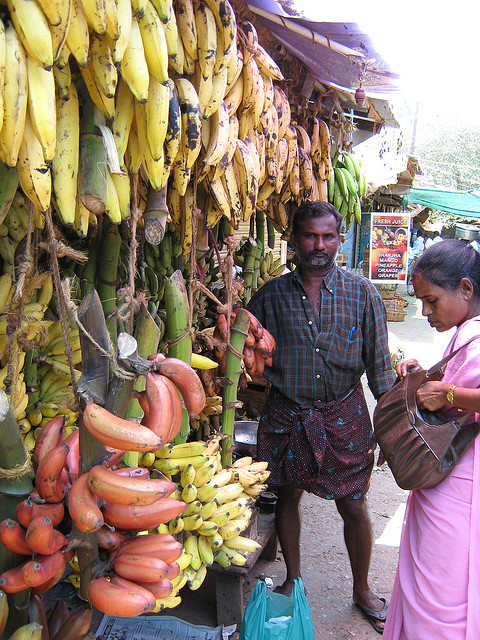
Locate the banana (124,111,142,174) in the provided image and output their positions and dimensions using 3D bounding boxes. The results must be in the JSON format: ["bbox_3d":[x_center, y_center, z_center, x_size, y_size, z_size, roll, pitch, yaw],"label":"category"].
[{"bbox_3d":[-0.252,-0.406,1.190,0.036,0.164,0.054,0,-2,10],"label":"banana"}]

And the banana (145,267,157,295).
[{"bbox_3d":[-0.324,-0.151,1.865,0.038,0.117,0.026,-25,37,-24],"label":"banana"}]

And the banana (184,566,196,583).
[{"bbox_3d":[-0.150,0.778,1.547,0.015,0.055,0.040,-16,2,10],"label":"banana"}]

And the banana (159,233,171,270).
[{"bbox_3d":[-0.281,-0.262,1.937,0.038,0.157,0.048,-4,6,-10],"label":"banana"}]

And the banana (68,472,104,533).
[{"bbox_3d":[-0.281,0.333,0.930,0.073,0.057,0.164,7,15,-16],"label":"banana"}]

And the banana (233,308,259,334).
[{"bbox_3d":[0.033,0.004,2.127,0.030,0.119,0.085,-27,4,18],"label":"banana"}]

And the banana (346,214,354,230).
[{"bbox_3d":[0.696,-0.611,3.163,0.034,0.137,0.045,6,15,10],"label":"banana"}]

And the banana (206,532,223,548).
[{"bbox_3d":[-0.079,0.701,1.601,0.025,0.037,0.050,-1,45,26],"label":"banana"}]

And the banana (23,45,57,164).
[{"bbox_3d":[-0.315,-0.348,0.839,0.036,0.190,0.056,-10,9,-36],"label":"banana"}]

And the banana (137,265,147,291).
[{"bbox_3d":[-0.355,-0.157,1.828,0.031,0.093,0.089,-1,12,-23],"label":"banana"}]

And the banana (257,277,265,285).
[{"bbox_3d":[0.139,-0.262,3.300,0.038,0.028,0.085,6,38,-3],"label":"banana"}]

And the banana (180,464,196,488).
[{"bbox_3d":[-0.158,0.485,1.555,0.044,0.097,0.056,3,11,-6],"label":"banana"}]

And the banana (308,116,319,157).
[{"bbox_3d":[0.405,-1.020,2.722,0.057,0.273,0.072,-4,-27,13],"label":"banana"}]

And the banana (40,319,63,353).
[{"bbox_3d":[-0.536,0.047,1.431,0.029,0.114,0.042,21,38,-28],"label":"banana"}]

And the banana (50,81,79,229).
[{"bbox_3d":[-0.314,-0.312,0.979,0.050,0.277,0.093,-1,11,-3],"label":"banana"}]

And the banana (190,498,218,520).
[{"bbox_3d":[-0.114,0.596,1.588,0.031,0.102,0.036,43,6,39],"label":"banana"}]

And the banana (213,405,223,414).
[{"bbox_3d":[-0.097,0.402,2.274,0.039,0.057,0.046,5,11,6],"label":"banana"}]

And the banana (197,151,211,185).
[{"bbox_3d":[-0.097,-0.451,1.440,0.027,0.111,0.037,8,-7,9],"label":"banana"}]

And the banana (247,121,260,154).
[{"bbox_3d":[0.051,-0.649,1.781,0.026,0.112,0.037,-12,-6,-37],"label":"banana"}]

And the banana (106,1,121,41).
[{"bbox_3d":[-0.215,-0.512,0.860,0.017,0.064,0.020,1,5,15],"label":"banana"}]

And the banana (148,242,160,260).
[{"bbox_3d":[-0.320,-0.265,1.907,0.031,0.096,0.025,-16,-7,23],"label":"banana"}]

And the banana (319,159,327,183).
[{"bbox_3d":[0.461,-0.826,2.763,0.026,0.105,0.029,-4,10,35],"label":"banana"}]

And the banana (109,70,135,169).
[{"bbox_3d":[-0.252,-0.431,1.115,0.028,0.187,0.035,9,19,3],"label":"banana"}]

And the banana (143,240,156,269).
[{"bbox_3d":[-0.332,-0.246,1.851,0.027,0.115,0.035,-7,7,17],"label":"banana"}]

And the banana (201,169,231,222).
[{"bbox_3d":[-0.059,-0.387,1.599,0.061,0.177,0.042,-38,34,-20],"label":"banana"}]

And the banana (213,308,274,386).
[{"bbox_3d":[0.039,0.142,2.229,0.083,0.303,0.200,-6,13,32],"label":"banana"}]

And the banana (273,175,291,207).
[{"bbox_3d":[0.220,-0.657,2.602,0.062,0.199,0.040,5,-21,44],"label":"banana"}]

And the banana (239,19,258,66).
[{"bbox_3d":[0.022,-0.888,1.592,0.055,0.166,0.040,17,-31,-38],"label":"banana"}]

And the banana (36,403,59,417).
[{"bbox_3d":[-0.603,0.282,1.584,0.077,0.030,0.055,-2,2,19],"label":"banana"}]

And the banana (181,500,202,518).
[{"bbox_3d":[-0.144,0.581,1.551,0.028,0.079,0.039,31,21,-53],"label":"banana"}]

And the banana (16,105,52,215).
[{"bbox_3d":[-0.333,-0.271,0.873,0.042,0.180,0.056,-9,10,-6],"label":"banana"}]

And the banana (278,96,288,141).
[{"bbox_3d":[0.187,-0.847,2.102,0.045,0.159,0.040,1,-4,43],"label":"banana"}]

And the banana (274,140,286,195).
[{"bbox_3d":[0.171,-0.647,2.117,0.037,0.228,0.056,2,-10,-9],"label":"banana"}]

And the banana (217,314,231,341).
[{"bbox_3d":[-0.064,0.036,2.028,0.033,0.111,0.050,-23,12,-41],"label":"banana"}]

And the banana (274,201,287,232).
[{"bbox_3d":[0.234,-0.561,2.730,0.052,0.170,0.037,-23,29,-11],"label":"banana"}]

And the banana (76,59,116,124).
[{"bbox_3d":[-0.266,-0.433,0.972,0.046,0.146,0.043,-23,-16,-27],"label":"banana"}]

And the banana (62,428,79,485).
[{"bbox_3d":[-0.349,0.285,1.038,0.026,0.115,0.038,5,-3,-1],"label":"banana"}]

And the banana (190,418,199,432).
[{"bbox_3d":[-0.206,0.467,2.289,0.018,0.078,0.026,-8,-5,-2],"label":"banana"}]

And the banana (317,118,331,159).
[{"bbox_3d":[0.453,-0.993,2.764,0.046,0.235,0.075,-7,-17,5],"label":"banana"}]

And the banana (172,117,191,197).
[{"bbox_3d":[-0.148,-0.414,1.285,0.032,0.175,0.041,-3,5,-8],"label":"banana"}]

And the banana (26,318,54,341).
[{"bbox_3d":[-0.441,0.019,1.107,0.016,0.022,0.076,24,63,37],"label":"banana"}]

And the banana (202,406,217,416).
[{"bbox_3d":[-0.130,0.405,2.257,0.052,0.028,0.082,-3,-8,-17],"label":"banana"}]

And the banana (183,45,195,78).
[{"bbox_3d":[-0.132,-0.688,1.326,0.017,0.067,0.021,-11,19,-5],"label":"banana"}]

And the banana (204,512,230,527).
[{"bbox_3d":[-0.071,0.612,1.584,0.034,0.032,0.112,-12,-8,13],"label":"banana"}]

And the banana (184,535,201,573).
[{"bbox_3d":[-0.153,0.719,1.570,0.031,0.124,0.037,0,-14,-4],"label":"banana"}]
